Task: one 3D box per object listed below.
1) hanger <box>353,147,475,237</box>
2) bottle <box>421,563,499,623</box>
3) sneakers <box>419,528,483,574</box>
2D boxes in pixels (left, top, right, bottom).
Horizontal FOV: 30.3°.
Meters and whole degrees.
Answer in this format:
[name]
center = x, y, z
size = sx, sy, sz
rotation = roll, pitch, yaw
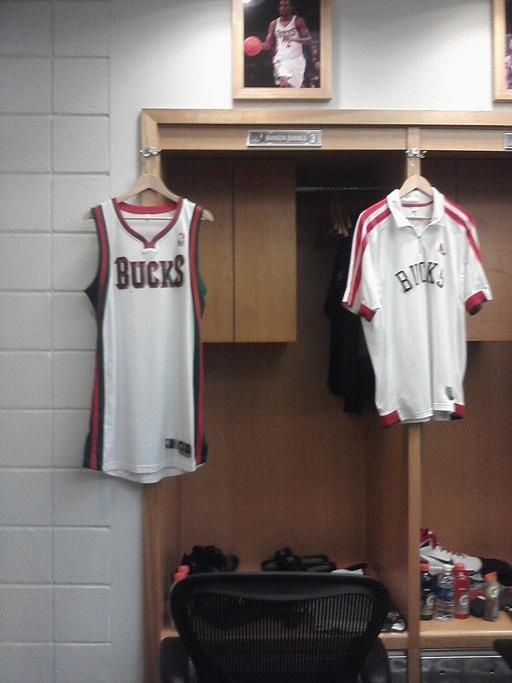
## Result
[hanger]
center = 0.523, -0.460, 3.114
size = 0.454, 0.328, 0.016
rotation = 8, 15, 35
[bottle]
center = 0.681, 0.855, 3.180
size = 0.208, 0.127, 0.213
rotation = 0, -1, 0
[sneakers]
center = 0.656, 0.746, 3.348
size = 0.300, 0.142, 0.095
rotation = 4, -3, -7
